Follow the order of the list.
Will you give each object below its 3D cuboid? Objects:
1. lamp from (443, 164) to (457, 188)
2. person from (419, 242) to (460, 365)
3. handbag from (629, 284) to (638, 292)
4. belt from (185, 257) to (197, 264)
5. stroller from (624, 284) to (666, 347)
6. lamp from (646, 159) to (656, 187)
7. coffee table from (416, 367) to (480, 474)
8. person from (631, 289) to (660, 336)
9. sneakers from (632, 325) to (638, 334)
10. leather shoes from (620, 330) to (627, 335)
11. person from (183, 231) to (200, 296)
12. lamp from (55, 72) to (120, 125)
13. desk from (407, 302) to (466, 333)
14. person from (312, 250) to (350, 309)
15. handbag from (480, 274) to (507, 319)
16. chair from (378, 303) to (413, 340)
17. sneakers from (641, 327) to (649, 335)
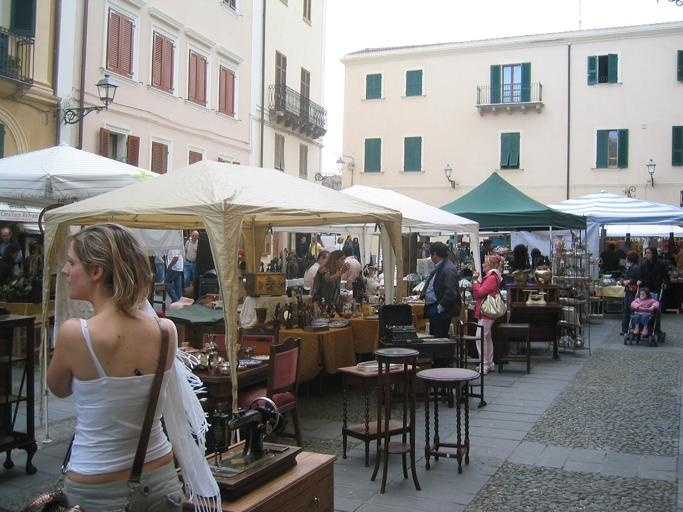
[{"bbox_3d":[4.224,-3.113,26.729,0.499,0.966,0.788,1,4,8],"label":"lamp"},{"bbox_3d":[1.493,0.481,10.197,0.423,1.376,0.720,-1,4,-18],"label":"person"},{"bbox_3d":[5.924,0.640,14.034,0.142,0.160,0.049,7,0,11],"label":"handbag"},{"bbox_3d":[-3.332,0.075,15.288,0.147,0.109,0.153,2,-3,2],"label":"belt"},{"bbox_3d":[5.758,1.192,13.702,0.677,1.196,1.256,-5,-7,36],"label":"stroller"},{"bbox_3d":[10.874,-2.941,24.263,0.309,0.965,0.593,2,4,24],"label":"lamp"},{"bbox_3d":[1.160,1.680,7.447,0.875,1.243,0.936,-1,0,14],"label":"coffee table"},{"bbox_3d":[5.956,1.084,13.562,0.503,0.861,0.784,2,5,24],"label":"person"},{"bbox_3d":[5.714,1.422,13.436,0.122,0.171,0.359,-2,-6,32],"label":"sneakers"},{"bbox_3d":[5.814,1.588,14.266,0.038,0.084,0.115,-5,7,-39],"label":"leather shoes"},{"bbox_3d":[-3.281,0.090,15.031,0.328,1.322,1.957,-1,4,-13],"label":"person"},{"bbox_3d":[-5.547,-3.424,14.883,1.232,1.240,0.361,2,0,16],"label":"lamp"},{"bbox_3d":[1.372,0.900,10.194,0.605,0.435,0.373,-1,1,-37],"label":"desk"},{"bbox_3d":[-0.236,0.330,10.856,0.480,0.858,0.963,2,4,18],"label":"person"},{"bbox_3d":[2.392,0.636,10.640,0.597,0.663,0.308,7,-11,-35],"label":"handbag"},{"bbox_3d":[0.674,0.809,8.532,0.411,0.414,0.334,0,4,3],"label":"chair"},{"bbox_3d":[5.880,1.450,13.351,0.130,0.208,0.260,2,5,26],"label":"sneakers"}]
